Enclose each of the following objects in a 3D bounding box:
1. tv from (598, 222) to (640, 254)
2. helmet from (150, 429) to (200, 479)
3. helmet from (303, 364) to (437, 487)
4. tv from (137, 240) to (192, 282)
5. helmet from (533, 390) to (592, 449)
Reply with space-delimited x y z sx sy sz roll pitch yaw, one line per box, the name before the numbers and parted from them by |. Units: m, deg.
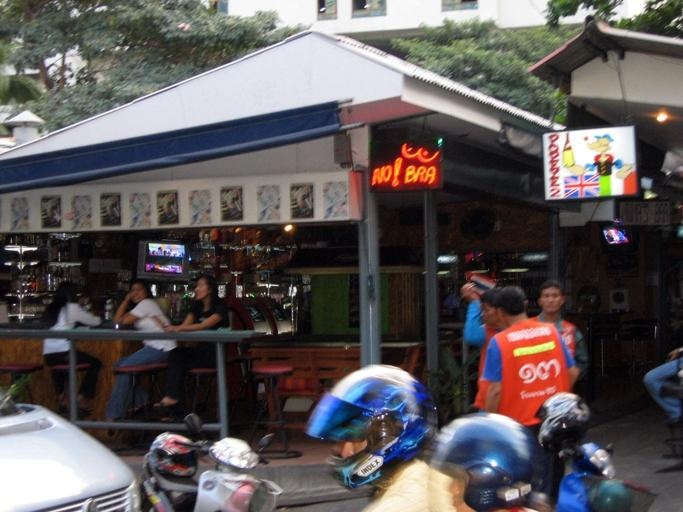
tv | 5.313 -0.376 14.866 0.952 0.499 0.877 4 4 -12
helmet | -1.336 1.580 6.076 0.386 0.295 0.290 24 0 17
helmet | 0.150 0.868 4.045 0.645 0.495 0.488 -9 -5 -2
tv | -2.369 0.070 10.281 0.870 0.587 0.460 1 -5 -1
helmet | 1.271 0.994 4.679 0.354 0.341 0.267 9 -16 4
